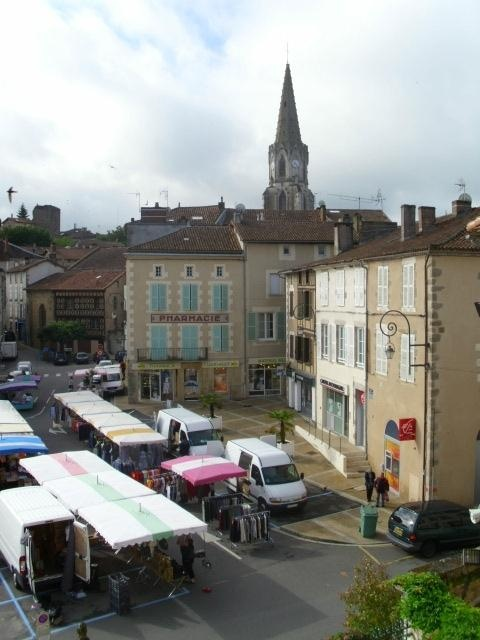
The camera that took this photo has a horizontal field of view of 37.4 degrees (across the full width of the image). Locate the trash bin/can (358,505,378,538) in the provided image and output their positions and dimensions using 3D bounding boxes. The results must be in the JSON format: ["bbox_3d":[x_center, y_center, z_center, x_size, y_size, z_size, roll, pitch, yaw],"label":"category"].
[{"bbox_3d":[3.759,5.931,20.933,0.649,1.079,0.705,1,6,1],"label":"trash bin/can"}]

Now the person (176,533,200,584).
[{"bbox_3d":[-1.269,5.799,17.229,0.387,1.178,0.559,0,3,-14],"label":"person"}]

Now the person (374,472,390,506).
[{"bbox_3d":[4.832,5.729,24.042,0.418,1.004,1.143,2,3,11],"label":"person"}]

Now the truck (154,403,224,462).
[{"bbox_3d":[-2.031,4.467,28.574,1.228,1.307,3.512,-7,-3,-19],"label":"truck"}]

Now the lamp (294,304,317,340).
[{"bbox_3d":[3.702,0.211,37.624,1.170,2.266,2.217,1,-9,-7],"label":"lamp"}]

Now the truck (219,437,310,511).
[{"bbox_3d":[0.914,5.052,23.504,1.314,1.293,2.665,-3,-1,-20],"label":"truck"}]

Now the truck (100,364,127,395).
[{"bbox_3d":[-8.507,3.993,46.709,1.424,1.836,2.396,2,3,11],"label":"truck"}]
